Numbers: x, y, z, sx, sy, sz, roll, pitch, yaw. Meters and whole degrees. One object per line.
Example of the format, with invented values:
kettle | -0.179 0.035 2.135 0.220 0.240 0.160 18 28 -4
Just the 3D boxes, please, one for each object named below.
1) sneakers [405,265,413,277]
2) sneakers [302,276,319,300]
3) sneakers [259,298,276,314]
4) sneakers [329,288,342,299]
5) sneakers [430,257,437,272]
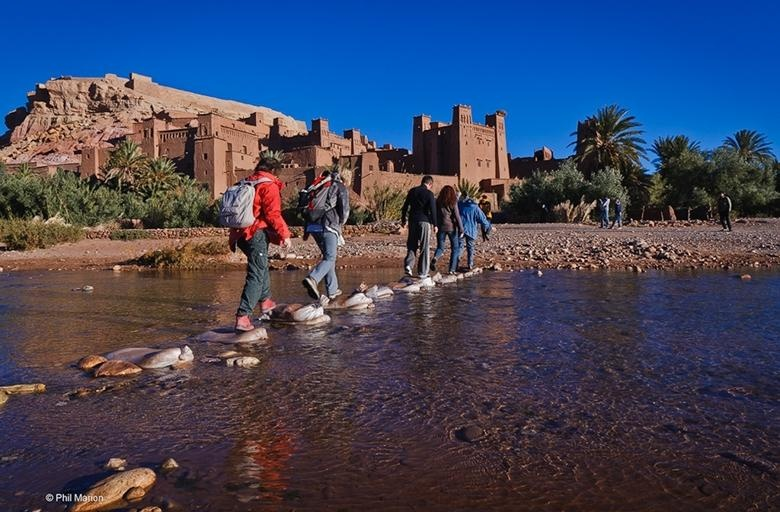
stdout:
sneakers | 0.375 0.319 11.391 0.101 0.121 0.303 -7 -38 4
sneakers | -1.142 0.457 8.168 0.141 0.385 0.166 -14 23 40
sneakers | -1.638 0.631 7.658 0.122 0.163 0.349 0 16 10
sneakers | -0.789 0.538 8.362 0.234 0.097 0.090 -25 20 -32
sneakers | 0.963 0.156 12.752 0.127 0.158 0.373 7 -23 11
